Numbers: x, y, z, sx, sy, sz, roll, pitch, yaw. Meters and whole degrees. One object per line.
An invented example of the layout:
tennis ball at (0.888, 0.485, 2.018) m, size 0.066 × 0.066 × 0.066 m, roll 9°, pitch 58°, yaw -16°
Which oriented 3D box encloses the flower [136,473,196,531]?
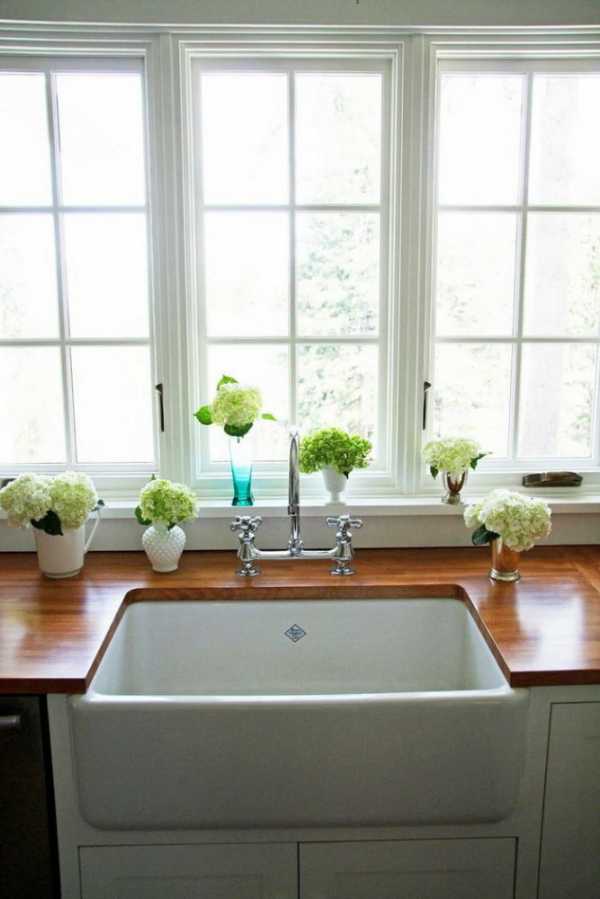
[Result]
flower at (-0.332, 0.128, 1.786) m, size 0.128 × 0.123 × 0.128 m, roll 1°, pitch 0°, yaw -8°

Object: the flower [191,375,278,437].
flower at (-0.190, -0.114, 1.931) m, size 0.189 × 0.159 × 0.159 m, roll 4°, pitch 11°, yaw 21°

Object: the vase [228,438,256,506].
vase at (-0.166, 0.051, 2.014) m, size 0.059 × 0.196 × 0.145 m, roll -1°, pitch 10°, yaw -4°

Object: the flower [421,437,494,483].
flower at (0.406, 0.021, 1.942) m, size 0.114 × 0.095 × 0.139 m, roll 1°, pitch 5°, yaw 26°

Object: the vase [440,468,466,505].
vase at (0.423, 0.106, 1.993) m, size 0.076 × 0.121 × 0.082 m, roll 1°, pitch 6°, yaw 2°

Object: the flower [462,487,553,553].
flower at (0.500, 0.172, 1.744) m, size 0.139 × 0.136 × 0.166 m, roll -4°, pitch 11°, yaw -18°

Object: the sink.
sink at (-0.002, 0.538, 1.532) m, size 0.828 × 0.287 × 0.457 m, roll -1°, pitch 10°, yaw -2°

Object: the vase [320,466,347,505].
vase at (0.090, 0.101, 1.979) m, size 0.089 × 0.115 × 0.090 m, roll 0°, pitch 4°, yaw 0°

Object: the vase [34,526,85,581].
vase at (-0.598, 0.257, 1.842) m, size 0.144 × 0.131 × 0.108 m, roll -4°, pitch 9°, yaw -38°

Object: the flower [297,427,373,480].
flower at (0.089, 0.005, 1.939) m, size 0.137 × 0.105 × 0.145 m, roll 1°, pitch 1°, yaw 7°

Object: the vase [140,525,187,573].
vase at (-0.342, 0.241, 1.812) m, size 0.111 × 0.135 × 0.117 m, roll 1°, pitch 1°, yaw 0°
